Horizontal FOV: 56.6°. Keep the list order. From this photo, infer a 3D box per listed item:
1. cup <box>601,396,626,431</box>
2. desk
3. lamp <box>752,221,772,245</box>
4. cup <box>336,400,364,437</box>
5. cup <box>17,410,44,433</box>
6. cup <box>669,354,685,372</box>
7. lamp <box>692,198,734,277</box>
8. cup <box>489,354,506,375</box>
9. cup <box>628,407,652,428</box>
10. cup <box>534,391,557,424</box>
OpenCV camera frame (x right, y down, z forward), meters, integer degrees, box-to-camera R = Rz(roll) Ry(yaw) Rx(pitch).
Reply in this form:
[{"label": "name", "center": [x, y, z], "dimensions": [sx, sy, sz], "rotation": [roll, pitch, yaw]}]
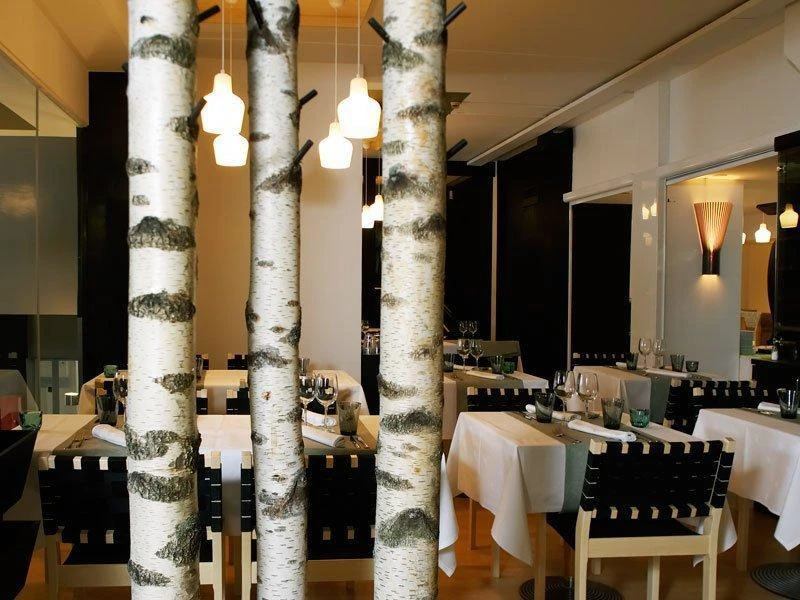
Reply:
[{"label": "cup", "center": [1.039, 0.549, 3.627], "dimensions": [0.123, 0.153, 0.129], "rotation": [0, -4, 0]}, {"label": "desk", "center": [-0.998, 0.830, 3.142], "dimensions": [1.132, 0.628, 0.842], "rotation": [0, 6, -3]}, {"label": "lamp", "center": [4.826, -0.903, 9.955], "dimensions": [0.289, 0.332, 0.296], "rotation": [6, 8, 44]}, {"label": "cup", "center": [-0.238, 0.558, 3.565], "dimensions": [0.117, 0.148, 0.131], "rotation": [1, -13, -4]}, {"label": "cup", "center": [-1.626, 0.533, 3.248], "dimensions": [0.087, 0.108, 0.095], "rotation": [0, -11, 0]}, {"label": "cup", "center": [2.148, 0.484, 5.707], "dimensions": [0.120, 0.146, 0.127], "rotation": [0, -2, 0]}, {"label": "lamp", "center": [2.967, -0.593, 7.017], "dimensions": [0.356, 0.699, 0.151], "rotation": [1, -4, -9]}, {"label": "cup", "center": [0.720, 0.487, 5.528], "dimensions": [0.108, 0.132, 0.111], "rotation": [0, -1, 0]}, {"label": "cup", "center": [1.216, 0.589, 3.744], "dimensions": [0.102, 0.085, 0.102], "rotation": [-1, -5, 0]}, {"label": "cup", "center": [0.757, 0.553, 3.847], "dimensions": [0.130, 0.202, 0.122], "rotation": [2, -1, 0]}]
